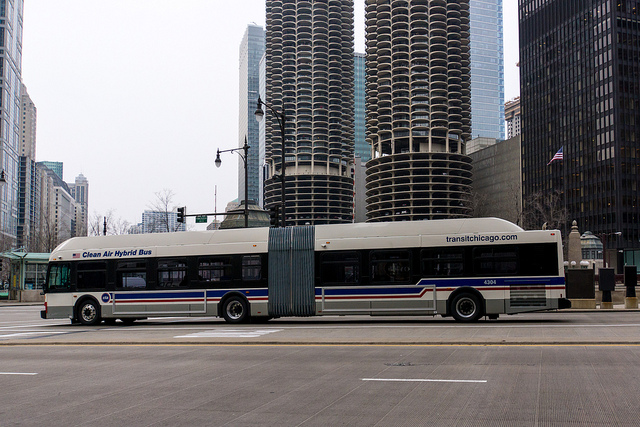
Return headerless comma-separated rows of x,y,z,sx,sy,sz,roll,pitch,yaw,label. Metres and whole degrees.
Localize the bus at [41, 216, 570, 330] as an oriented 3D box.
-0.569,3.110,37.316,28.659,5.492,5.809,0,-5,10,bus
